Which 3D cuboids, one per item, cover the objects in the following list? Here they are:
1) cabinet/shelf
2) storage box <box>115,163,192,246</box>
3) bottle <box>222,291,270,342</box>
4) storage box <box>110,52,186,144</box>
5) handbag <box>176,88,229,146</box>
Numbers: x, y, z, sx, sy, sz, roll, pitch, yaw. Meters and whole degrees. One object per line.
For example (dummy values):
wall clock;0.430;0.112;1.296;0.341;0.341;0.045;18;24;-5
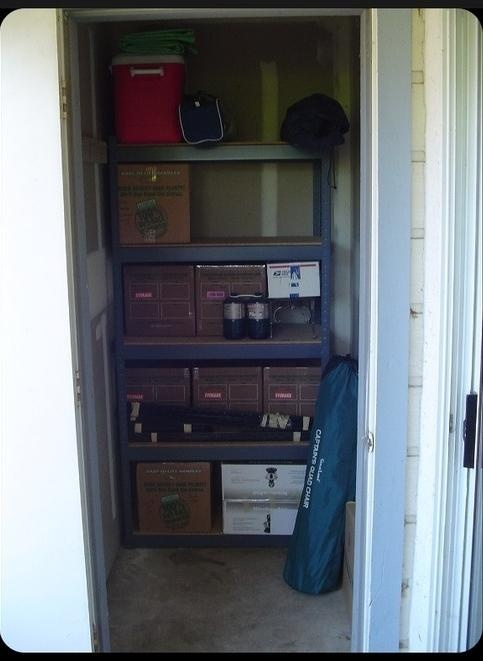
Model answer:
cabinet/shelf;-0.087;-0.072;3.077;0.828;2.359;0.571;3;-7;4
storage box;-0.402;-0.566;2.806;0.271;0.371;0.109;0;8;3
bottle;0.010;-0.055;2.969;0.256;0.332;0.164;-1;3;-6
storage box;-0.396;-0.995;2.711;0.247;0.366;0.326;0;13;1
handbag;-0.154;-0.893;2.730;0.201;0.378;0.177;-2;13;0
